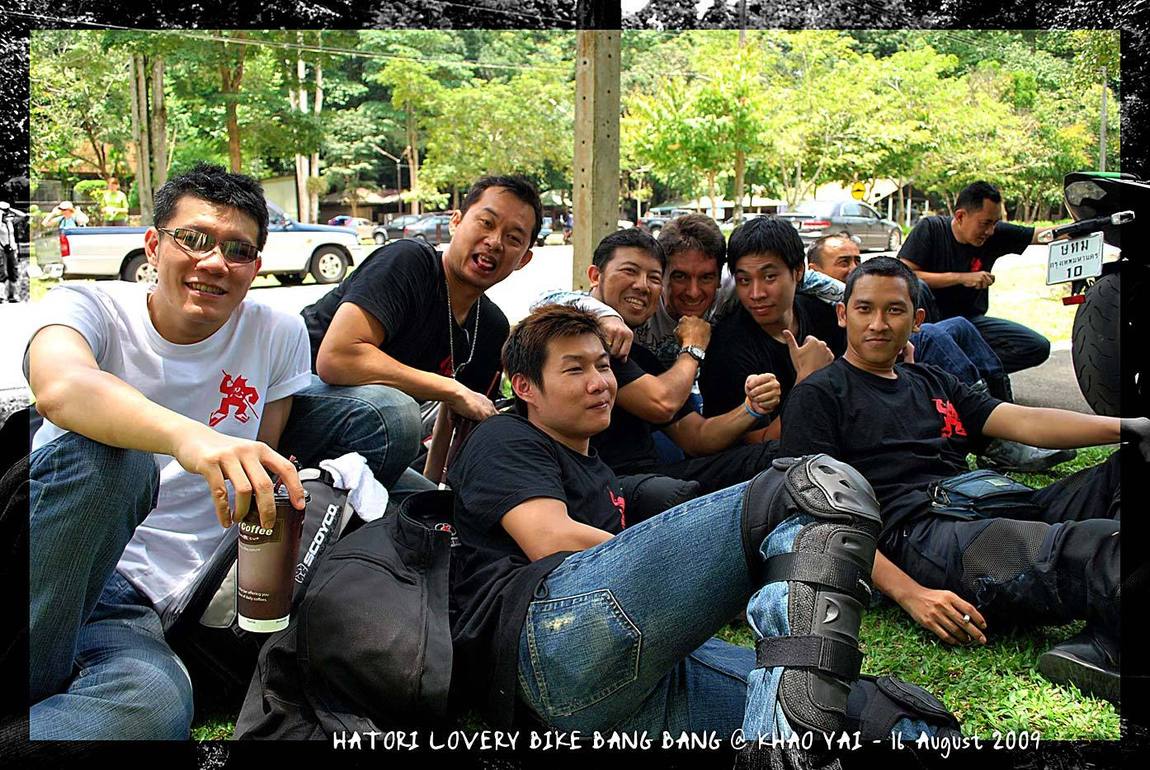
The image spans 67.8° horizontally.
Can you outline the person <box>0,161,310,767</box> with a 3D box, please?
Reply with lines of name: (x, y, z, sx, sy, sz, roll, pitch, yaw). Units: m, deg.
person: (-1.553, 0.227, 3.174, 0.937, 2.096, 1.278, -3, 12, -13)
